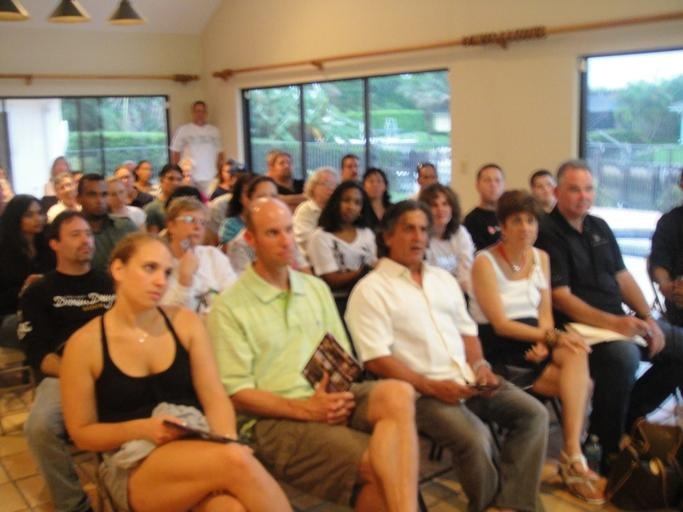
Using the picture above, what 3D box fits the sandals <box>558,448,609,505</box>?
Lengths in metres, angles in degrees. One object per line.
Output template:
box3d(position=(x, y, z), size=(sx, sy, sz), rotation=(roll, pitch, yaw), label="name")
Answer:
box3d(position=(1.286, 1.127, 2.742), size=(0.259, 0.212, 0.182), rotation=(-3, 11, -8), label="sandals")

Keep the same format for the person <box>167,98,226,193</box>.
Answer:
box3d(position=(-2.636, -1.573, 9.747), size=(0.994, 2.453, 0.532), rotation=(-3, 13, -25), label="person")
